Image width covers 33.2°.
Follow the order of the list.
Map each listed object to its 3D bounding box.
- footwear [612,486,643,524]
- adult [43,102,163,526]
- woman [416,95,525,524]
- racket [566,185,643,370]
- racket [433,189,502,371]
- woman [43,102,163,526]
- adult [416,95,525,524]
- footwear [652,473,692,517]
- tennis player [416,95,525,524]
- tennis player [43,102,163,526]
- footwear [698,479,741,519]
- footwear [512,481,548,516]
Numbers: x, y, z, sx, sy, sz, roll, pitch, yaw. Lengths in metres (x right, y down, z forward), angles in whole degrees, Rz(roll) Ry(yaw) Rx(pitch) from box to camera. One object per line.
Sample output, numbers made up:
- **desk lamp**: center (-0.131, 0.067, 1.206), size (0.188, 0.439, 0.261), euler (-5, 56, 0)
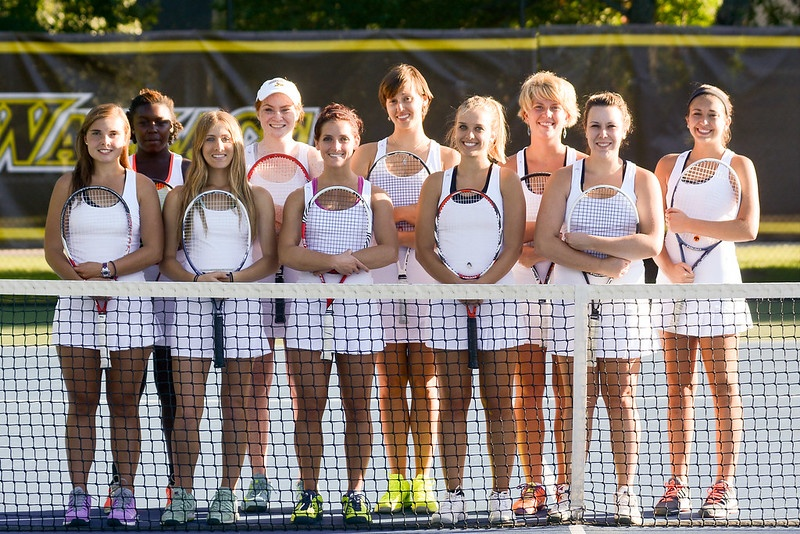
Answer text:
- **footwear**: center (1.960, 1.984, 11.440), size (0.244, 0.257, 0.406), euler (4, 16, 9)
- **adult**: center (-2.517, 0.378, 11.510), size (0.974, 3.319, 1.248), euler (-3, 15, -15)
- **woman**: center (0.608, 0.343, 11.565), size (0.939, 3.384, 1.443), euler (1, 15, -3)
- **racket**: center (1.813, 0.040, 11.572), size (0.665, 1.461, 0.645), euler (-5, 16, -21)
- **racket**: center (0.640, 0.138, 11.729), size (0.546, 1.561, 0.155), euler (-4, -5, 3)
- **woman**: center (-2.518, 0.378, 11.510), size (0.973, 3.319, 1.247), euler (-3, 15, -15)
- **adult**: center (0.608, 0.343, 11.568), size (0.939, 3.384, 1.446), euler (1, 15, -3)
- **footwear**: center (2.342, 1.953, 11.512), size (0.318, 0.267, 0.273), euler (2, 16, 1)
- **tennis player**: center (0.608, 0.343, 11.565), size (0.939, 3.384, 1.441), euler (1, 15, -3)
- **tennis player**: center (-2.513, 0.378, 11.510), size (0.969, 3.319, 1.247), euler (-3, 15, -16)
- **footwear**: center (2.764, 1.980, 11.526), size (0.375, 0.250, 0.315), euler (1, 16, -3)
- **footwear**: center (1.118, 1.989, 11.521), size (0.147, 0.191, 0.425), euler (-3, -13, 21)
